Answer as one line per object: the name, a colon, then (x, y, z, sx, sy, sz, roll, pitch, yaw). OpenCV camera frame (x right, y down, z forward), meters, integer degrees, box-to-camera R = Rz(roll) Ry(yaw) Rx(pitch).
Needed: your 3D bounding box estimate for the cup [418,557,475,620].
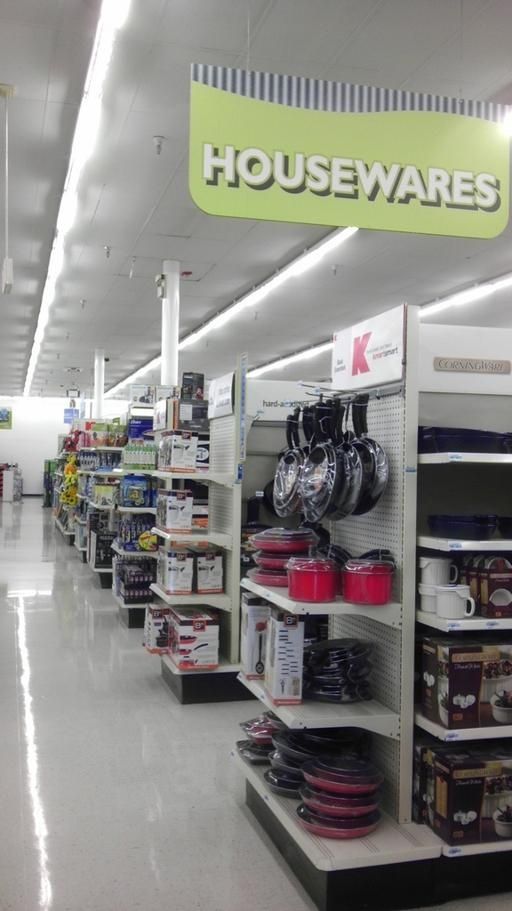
cup: (0.616, 0.417, 2.120, 0.149, 0.176, 0.195, 1, -3, -7)

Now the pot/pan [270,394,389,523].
pot/pan: (0.336, 0.051, 2.386, 0.081, 0.550, 0.353, 8, -10, -38)
